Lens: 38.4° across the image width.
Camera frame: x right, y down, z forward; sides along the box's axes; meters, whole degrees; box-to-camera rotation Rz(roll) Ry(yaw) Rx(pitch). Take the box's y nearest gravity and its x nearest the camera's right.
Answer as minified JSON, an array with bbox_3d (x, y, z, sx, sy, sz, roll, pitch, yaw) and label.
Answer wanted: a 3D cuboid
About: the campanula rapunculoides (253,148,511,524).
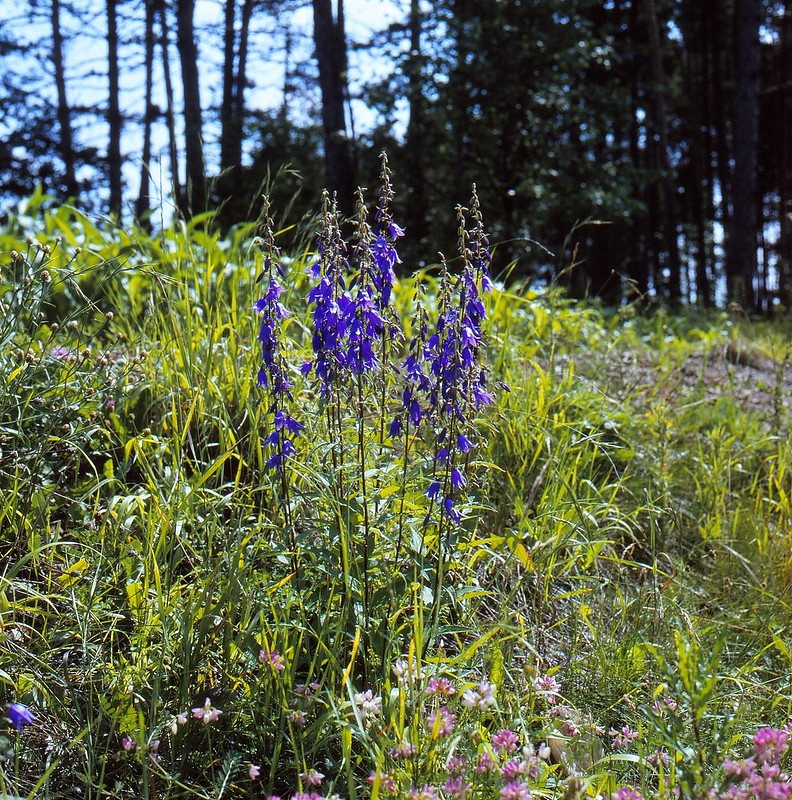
[{"bbox_3d":[-0.079,-0.210,4.066,0.800,1.265,0.950,-1,6,-4],"label":"campanula rapunculoides"}]
